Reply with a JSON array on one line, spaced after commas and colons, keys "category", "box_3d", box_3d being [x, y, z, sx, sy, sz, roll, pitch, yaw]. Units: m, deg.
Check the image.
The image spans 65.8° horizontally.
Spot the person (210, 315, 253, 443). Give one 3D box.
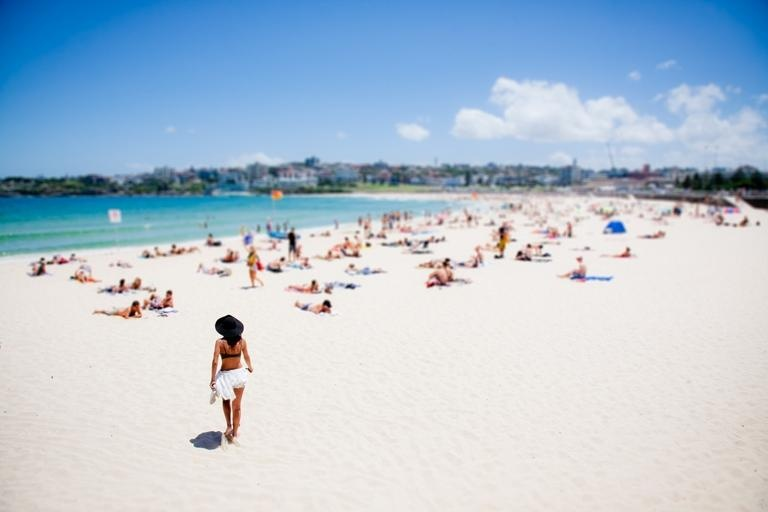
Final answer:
[{"category": "person", "box_3d": [-3.542, 2.836, 13.721, 0.931, 2.993, 0.579, -6, 15, -21]}]

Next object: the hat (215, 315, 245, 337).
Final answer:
[{"category": "hat", "box_3d": [-3.554, 1.590, 13.619, 0.544, 0.535, 0.449, -6, 16, -20]}]
